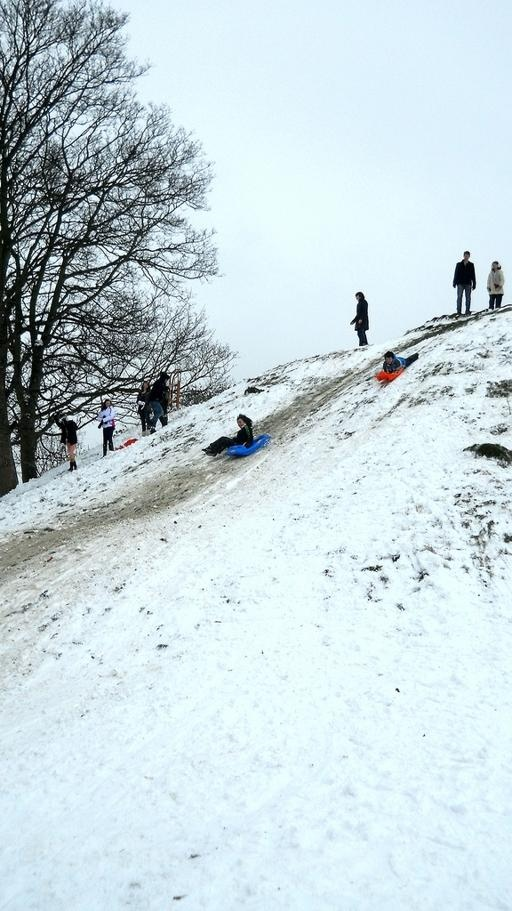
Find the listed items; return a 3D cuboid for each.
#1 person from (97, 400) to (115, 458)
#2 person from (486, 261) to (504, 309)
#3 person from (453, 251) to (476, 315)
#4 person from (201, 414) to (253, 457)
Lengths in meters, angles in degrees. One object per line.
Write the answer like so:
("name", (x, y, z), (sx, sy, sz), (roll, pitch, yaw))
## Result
("person", (-3.239, -0.593, 16.868), (0.311, 1.192, 1.548), (-6, 5, -11))
("person", (4.442, -3.148, 14.377), (0.263, 0.858, 0.636), (-4, 5, 20))
("person", (4.025, -3.319, 14.962), (0.365, 1.363, 0.308), (2, -17, 12))
("person", (-0.439, -0.326, 12.926), (0.384, 0.658, 1.028), (-10, 6, -42))
